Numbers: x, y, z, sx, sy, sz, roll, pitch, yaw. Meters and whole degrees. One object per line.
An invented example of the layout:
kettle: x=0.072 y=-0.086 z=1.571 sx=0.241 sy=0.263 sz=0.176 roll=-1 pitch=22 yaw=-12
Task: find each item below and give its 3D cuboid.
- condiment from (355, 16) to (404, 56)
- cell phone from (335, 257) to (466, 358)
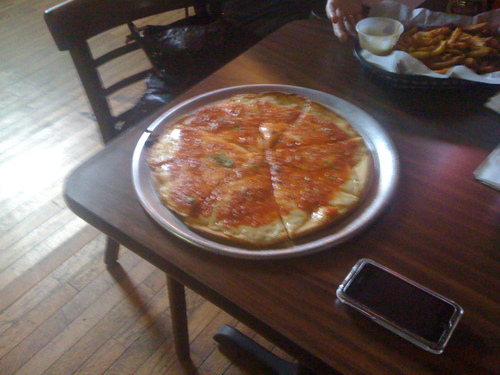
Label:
condiment: x=0.331 y=-0.389 z=1.013 sx=0.113 sy=0.062 sz=0.112 roll=-35 pitch=54 yaw=-22
cell phone: x=0.242 y=0.189 z=0.636 sx=0.200 sy=0.050 sz=0.103 roll=24 pitch=69 yaw=18
